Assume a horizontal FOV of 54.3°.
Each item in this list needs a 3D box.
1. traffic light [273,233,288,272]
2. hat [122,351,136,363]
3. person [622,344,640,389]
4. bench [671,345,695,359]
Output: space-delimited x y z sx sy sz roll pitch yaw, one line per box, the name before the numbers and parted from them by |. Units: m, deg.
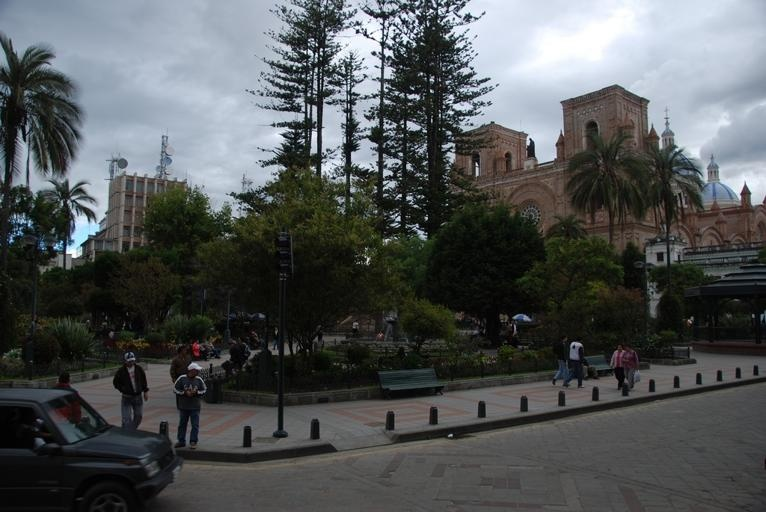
traffic light | -3.395 -0.161 25.348 0.575 1.413 0.367 0 -5 -18
hat | -8.226 3.258 24.192 0.348 0.294 0.490 1 -9 -41
person | 10.553 4.689 31.812 0.566 1.840 1.588 -3 -6 17
bench | 16.764 5.356 41.767 0.751 0.610 2.665 -5 -7 28
